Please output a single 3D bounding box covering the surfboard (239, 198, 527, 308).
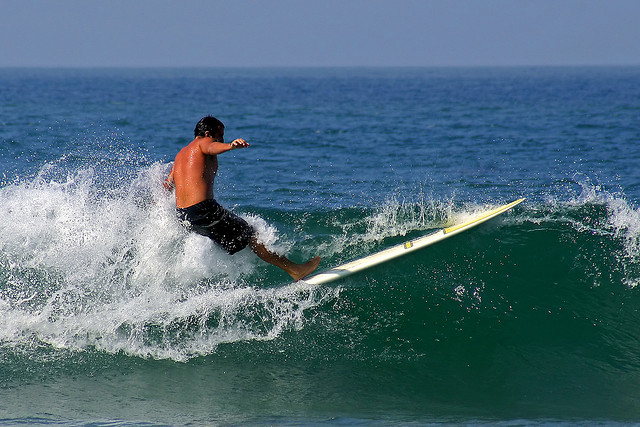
[{"bbox_3d":[1.756,0.705,17.524,5.400,0.263,0.536,-23,5,39],"label":"surfboard"}]

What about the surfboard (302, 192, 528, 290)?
[{"bbox_3d":[1.924,0.626,17.615,4.762,0.310,0.503,-17,23,-11],"label":"surfboard"}]
